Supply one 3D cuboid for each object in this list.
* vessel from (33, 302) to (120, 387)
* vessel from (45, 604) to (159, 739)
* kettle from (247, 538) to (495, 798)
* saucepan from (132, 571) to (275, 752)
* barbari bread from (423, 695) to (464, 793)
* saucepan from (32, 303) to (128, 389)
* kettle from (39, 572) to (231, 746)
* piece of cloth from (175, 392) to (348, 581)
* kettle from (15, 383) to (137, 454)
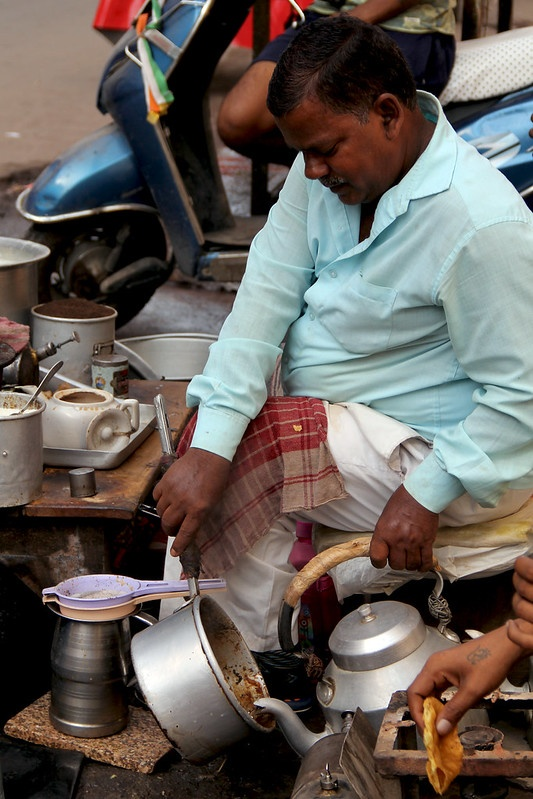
[{"bbox_3d":[-0.643,-0.210,2.512,0.320,0.288,0.292,2,18,1],"label":"vessel"},{"bbox_3d":[-0.326,0.565,1.530,0.274,0.220,0.150,1,-12,-4],"label":"vessel"},{"bbox_3d":[0.183,0.489,1.428,0.307,0.351,0.456,6,27,27],"label":"kettle"},{"bbox_3d":[-0.054,0.518,1.451,0.250,0.198,0.361,-23,-19,5],"label":"saucepan"},{"bbox_3d":[0.233,0.475,1.028,0.041,0.120,0.087,1,12,33],"label":"barbari bread"},{"bbox_3d":[-0.668,-0.208,2.596,0.273,0.257,0.254,0,27,-12],"label":"saucepan"},{"bbox_3d":[-0.279,0.539,1.571,0.410,0.266,0.198,2,1,-20],"label":"kettle"},{"bbox_3d":[-0.015,0.171,1.646,0.354,0.376,0.156,-20,26,-33],"label":"piece of cloth"},{"bbox_3d":[-0.493,0.072,2.049,0.290,0.152,0.211,-6,9,-41],"label":"kettle"}]
